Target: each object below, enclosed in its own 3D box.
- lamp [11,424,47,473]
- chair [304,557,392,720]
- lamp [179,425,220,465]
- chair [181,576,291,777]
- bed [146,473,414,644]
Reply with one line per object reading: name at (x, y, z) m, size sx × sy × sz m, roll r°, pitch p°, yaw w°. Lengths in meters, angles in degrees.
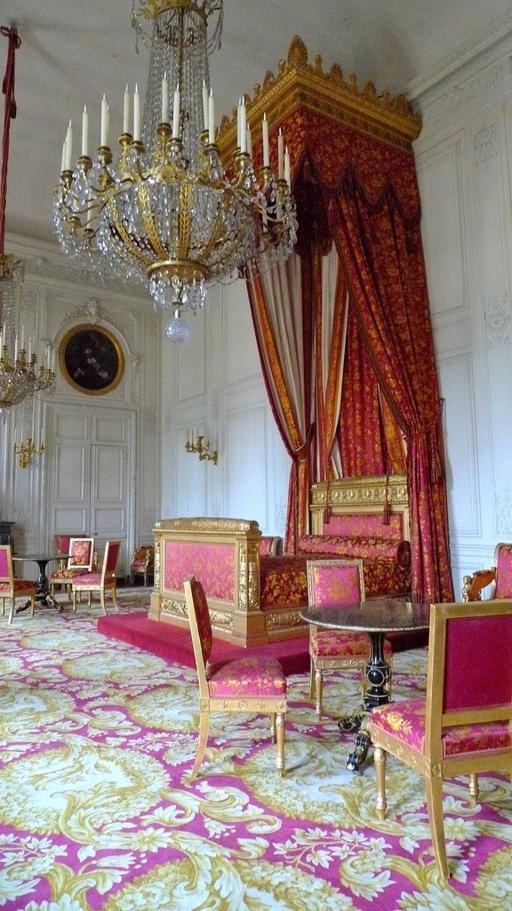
lamp at (-3.152, -0.089, 8.523) m, size 0.155 × 0.721 × 0.603 m, roll 1°, pitch 0°, yaw 29°
chair at (0.424, 0.895, 3.081) m, size 0.336 × 0.740 × 0.440 m, roll 3°, pitch -7°, yaw -12°
lamp at (-0.771, -0.124, 8.721) m, size 0.456 × 0.666 × 0.403 m, roll -15°, pitch 6°, yaw -33°
chair at (-0.078, 0.864, 2.745) m, size 0.535 × 1.137 × 0.610 m, roll -1°, pitch -6°, yaw 1°
bed at (0.247, 0.889, 4.751) m, size 1.392 × 1.207 × 1.445 m, roll 3°, pitch -7°, yaw -27°
